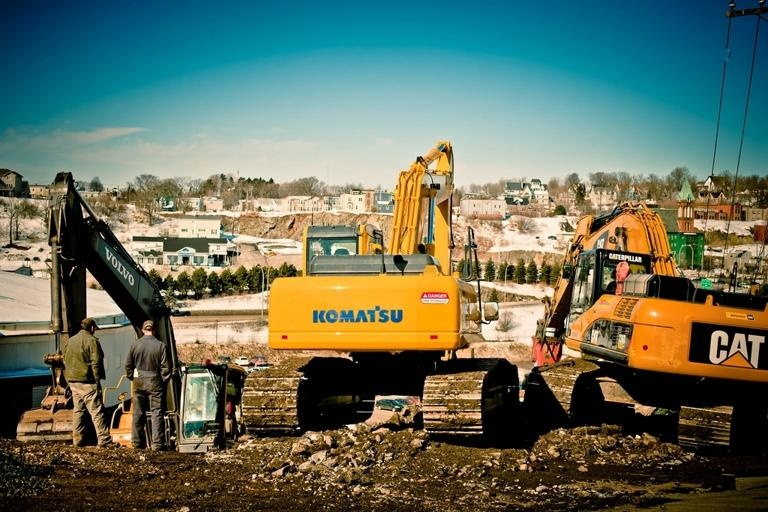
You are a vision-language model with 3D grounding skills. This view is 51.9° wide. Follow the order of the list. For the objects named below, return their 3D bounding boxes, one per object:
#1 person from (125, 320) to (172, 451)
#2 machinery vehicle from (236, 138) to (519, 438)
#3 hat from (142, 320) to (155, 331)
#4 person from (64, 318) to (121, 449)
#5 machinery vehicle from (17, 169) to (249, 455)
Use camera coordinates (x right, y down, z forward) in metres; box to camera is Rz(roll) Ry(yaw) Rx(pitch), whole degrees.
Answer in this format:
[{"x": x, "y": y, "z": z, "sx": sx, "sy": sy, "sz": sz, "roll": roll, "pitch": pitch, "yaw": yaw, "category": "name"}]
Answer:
[{"x": -4.648, "y": 2.655, "z": 15.691, "sx": 0.909, "sy": 2.369, "sz": 0.776, "roll": 7, "pitch": 9, "yaw": 31, "category": "person"}, {"x": 0.458, "y": 0.943, "z": 19.154, "sx": 4.806, "sy": 6.976, "sz": 7.492, "roll": 0, "pitch": 0, "yaw": 11, "category": "machinery vehicle"}, {"x": -4.764, "y": 1.449, "z": 16.083, "sx": 0.217, "sy": 0.119, "sz": 0.344, "roll": 2, "pitch": -2, "yaw": -9, "category": "hat"}, {"x": -5.877, "y": 2.570, "z": 15.647, "sx": 0.889, "sy": 2.380, "sz": 0.685, "roll": 1, "pitch": 8, "yaw": -10, "category": "person"}, {"x": -5.834, "y": 1.406, "z": 18.561, "sx": 2.465, "sy": 5.211, "sz": 7.005, "roll": 0, "pitch": -5, "yaw": 11, "category": "machinery vehicle"}]
